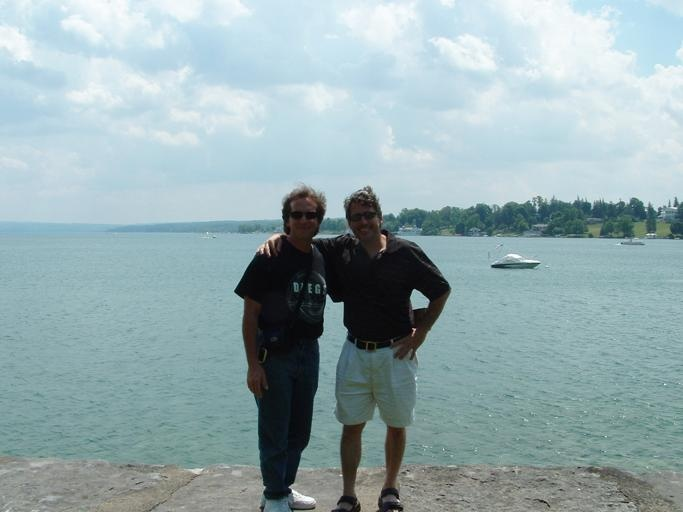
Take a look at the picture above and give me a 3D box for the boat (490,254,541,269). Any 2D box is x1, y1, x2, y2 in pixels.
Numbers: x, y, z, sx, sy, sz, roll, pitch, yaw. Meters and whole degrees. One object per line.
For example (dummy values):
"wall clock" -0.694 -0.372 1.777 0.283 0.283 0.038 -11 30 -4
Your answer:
"boat" 19.916 0.662 68.421 4.824 1.474 2.986 1 3 4
